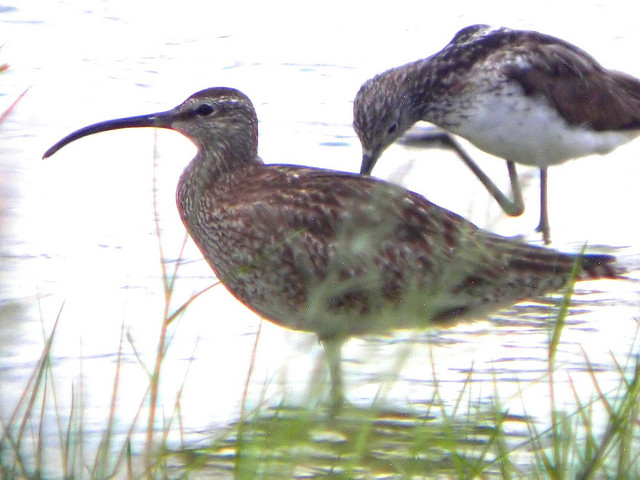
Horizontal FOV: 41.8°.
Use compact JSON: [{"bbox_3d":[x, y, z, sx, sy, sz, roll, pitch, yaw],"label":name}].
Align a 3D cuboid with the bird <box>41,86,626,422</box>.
[{"bbox_3d":[0.136,0.014,3.876,2.515,1.336,0.761,-2,-2,-5],"label":"bird"}]
